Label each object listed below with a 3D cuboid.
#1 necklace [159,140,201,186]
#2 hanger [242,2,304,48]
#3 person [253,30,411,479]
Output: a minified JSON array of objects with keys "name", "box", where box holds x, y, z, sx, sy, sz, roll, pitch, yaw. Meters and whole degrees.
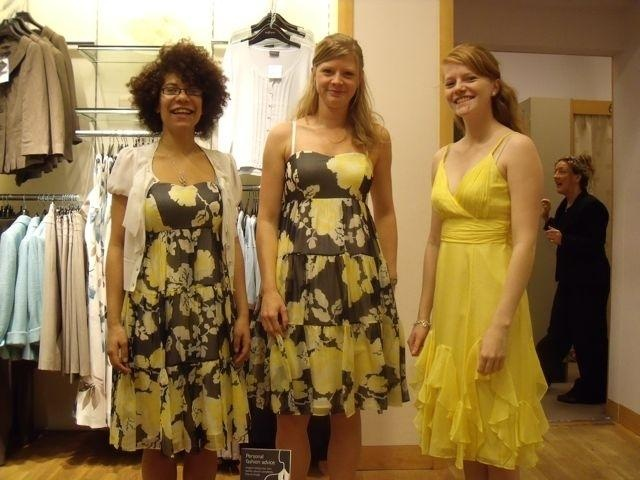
[{"name":"necklace","box":[-0.651,-0.354,2.517,0.175,0.203,0.077,9,-27,-13]},{"name":"hanger","box":[-0.301,-1.402,3.541,0.367,0.161,0.067,-1,9,1]},{"name":"person","box":[0.060,-0.074,2.570,0.699,1.740,0.315,2,-3,-21]}]
